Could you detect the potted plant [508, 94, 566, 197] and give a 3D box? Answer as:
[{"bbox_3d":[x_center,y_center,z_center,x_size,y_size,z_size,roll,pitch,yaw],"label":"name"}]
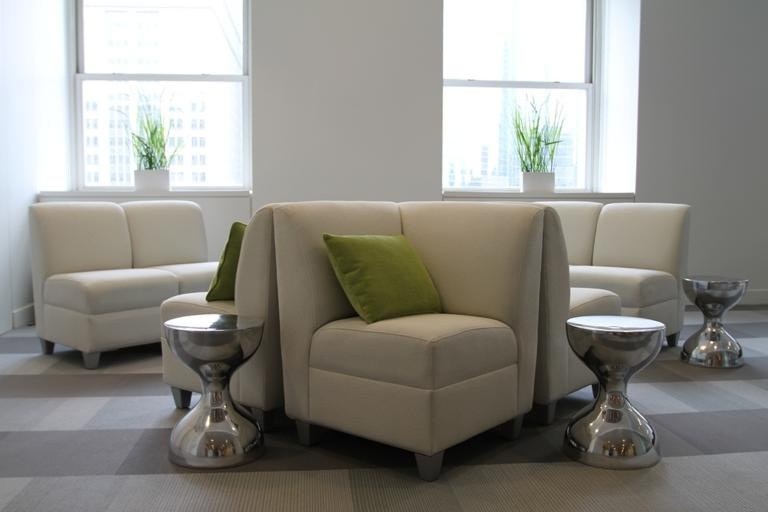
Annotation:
[{"bbox_3d":[1.618,-1.192,6.185,0.552,1.004,0.672,3,13,14],"label":"potted plant"}]
